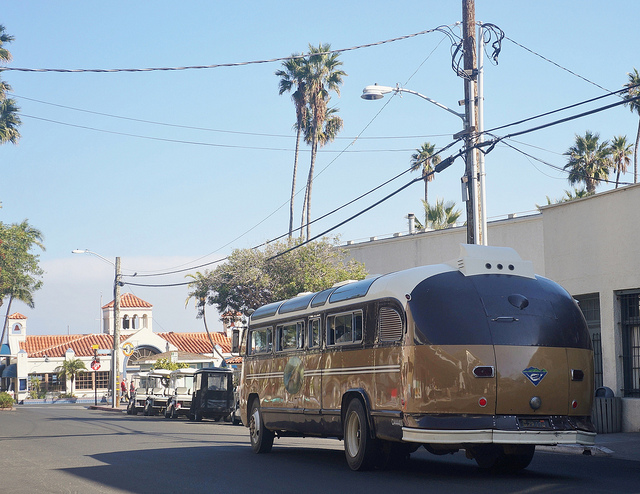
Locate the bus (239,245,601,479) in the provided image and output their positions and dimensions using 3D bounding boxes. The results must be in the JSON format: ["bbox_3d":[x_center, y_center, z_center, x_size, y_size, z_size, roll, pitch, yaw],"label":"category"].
[{"bbox_3d":[1.218,2.788,22.842,3.695,3.809,10.328,-3,-5,-39],"label":"bus"}]

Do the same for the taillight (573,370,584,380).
[{"bbox_3d":[5.220,2.555,19.682,0.246,0.194,0.147,2,-8,-13],"label":"taillight"}]

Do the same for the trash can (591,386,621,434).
[{"bbox_3d":[8.153,4.681,27.710,0.761,1.292,0.726,-3,2,-32],"label":"trash can"}]

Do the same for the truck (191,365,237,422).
[{"bbox_3d":[-4.903,6.489,43.400,1.735,2.193,3.296,4,-9,-19],"label":"truck"}]

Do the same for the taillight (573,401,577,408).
[{"bbox_3d":[5.111,3.130,19.536,0.118,0.109,0.004,-3,-3,-34],"label":"taillight"}]

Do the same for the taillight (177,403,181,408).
[{"bbox_3d":[-6.469,7.210,44.741,0.098,0.139,0.143,-5,-40,-4],"label":"taillight"}]

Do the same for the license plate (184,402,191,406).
[{"bbox_3d":[-6.069,7.130,44.685,0.240,0.166,0.250,1,-2,-8],"label":"license plate"}]

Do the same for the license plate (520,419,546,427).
[{"bbox_3d":[4.193,3.425,19.158,0.521,0.131,0.062,-5,-3,-18],"label":"license plate"}]
